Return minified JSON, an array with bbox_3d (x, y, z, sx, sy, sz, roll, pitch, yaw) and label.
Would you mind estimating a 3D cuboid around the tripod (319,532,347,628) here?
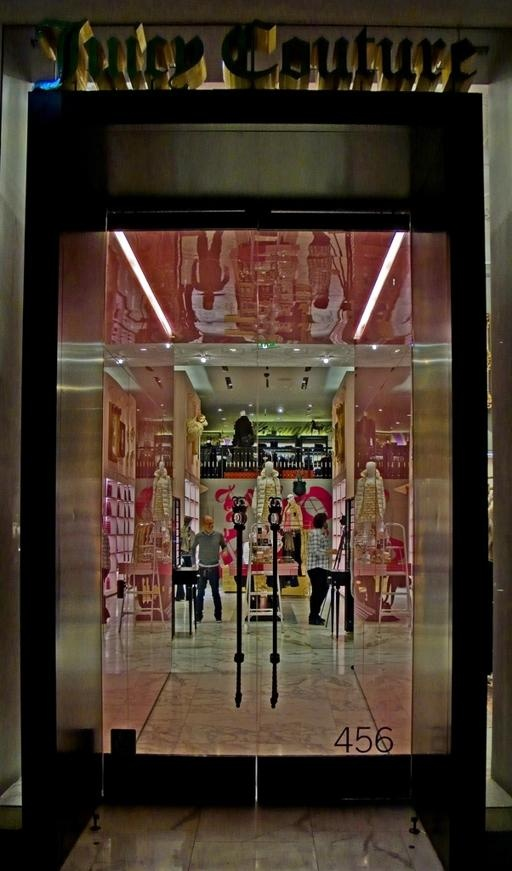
[{"bbox_3d":[0.402,0.770,3.496,0.093,0.813,0.313,2,-6,4],"label":"tripod"}]
